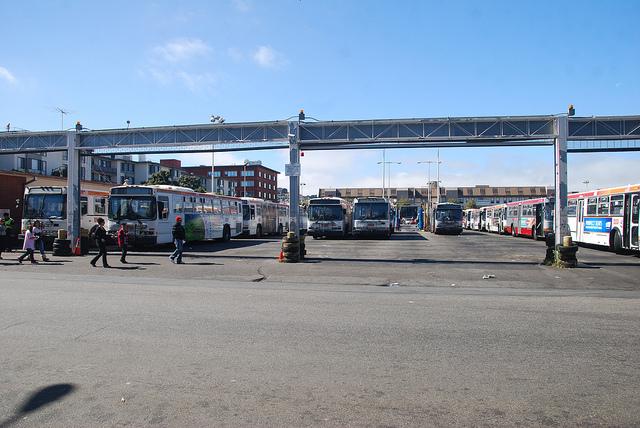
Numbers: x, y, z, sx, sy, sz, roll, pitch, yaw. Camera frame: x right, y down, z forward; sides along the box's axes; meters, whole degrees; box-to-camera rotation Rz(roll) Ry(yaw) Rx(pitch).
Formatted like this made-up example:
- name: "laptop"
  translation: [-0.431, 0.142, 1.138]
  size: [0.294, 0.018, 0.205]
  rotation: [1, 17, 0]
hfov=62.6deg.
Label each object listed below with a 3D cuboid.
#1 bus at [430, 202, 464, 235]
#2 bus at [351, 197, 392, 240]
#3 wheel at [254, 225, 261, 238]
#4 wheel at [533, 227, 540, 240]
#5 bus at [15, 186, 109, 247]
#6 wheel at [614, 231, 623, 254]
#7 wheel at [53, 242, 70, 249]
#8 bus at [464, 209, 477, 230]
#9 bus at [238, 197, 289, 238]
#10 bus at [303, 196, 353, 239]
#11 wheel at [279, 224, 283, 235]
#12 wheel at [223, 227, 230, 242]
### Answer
- name: "bus"
  translation: [12.281, 0.870, 52.180]
  size: [2.726, 3.109, 9.109]
  rotation: [0, -8, 9]
- name: "bus"
  translation: [3.695, 0.320, 38.131]
  size: [2.719, 2.937, 8.571]
  rotation: [-1, -3, 5]
- name: "wheel"
  translation: [-4.933, 1.344, 40.958]
  size: [0.301, 0.974, 0.951]
  rotation: [-1, 1, 9]
- name: "wheel"
  translation: [15.812, 1.361, 38.498]
  size: [0.470, 1.071, 1.447]
  rotation: [4, 10, 22]
- name: "bus"
  translation: [-13.658, 0.106, 28.469]
  size: [2.598, 2.891, 5.577]
  rotation: [2, 0, 0]
- name: "wheel"
  translation: [13.792, 1.312, 24.295]
  size: [0.251, 0.991, 0.585]
  rotation: [1, 10, 6]
- name: "wheel"
  translation: [-11.352, 1.390, 23.099]
  size: [0.597, 0.277, 0.176]
  rotation: [-6, 11, -29]
- name: "bus"
  translation: [20.241, 0.677, 71.815]
  size: [0.427, 3.478, 6.586]
  rotation: [1, 10, 9]
- name: "bus"
  translation: [-4.650, 0.360, 42.295]
  size: [2.989, 3.179, 11.644]
  rotation: [-2, -2, 9]
- name: "bus"
  translation: [0.654, 0.349, 38.858]
  size: [3.078, 3.149, 10.237]
  rotation: [-1, -2, 7]
- name: "wheel"
  translation: [-3.625, 1.335, 47.619]
  size: [0.299, 0.969, 0.946]
  rotation: [0, 3, 8]
- name: "wheel"
  translation: [-6.041, 1.271, 33.682]
  size: [0.281, 0.902, 0.880]
  rotation: [-3, -7, 8]
